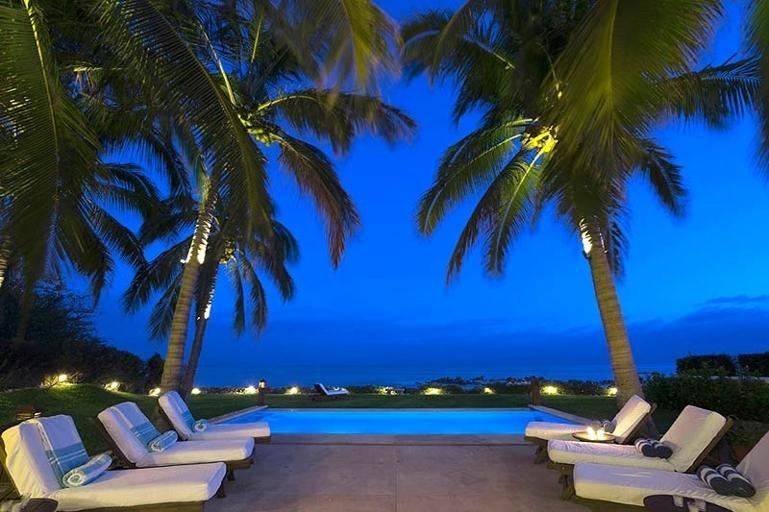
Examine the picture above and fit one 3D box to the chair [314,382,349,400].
[{"bbox_3d":[-2.060,5.236,17.803,1.057,0.491,0.797,1,-14,6],"label":"chair"}]
